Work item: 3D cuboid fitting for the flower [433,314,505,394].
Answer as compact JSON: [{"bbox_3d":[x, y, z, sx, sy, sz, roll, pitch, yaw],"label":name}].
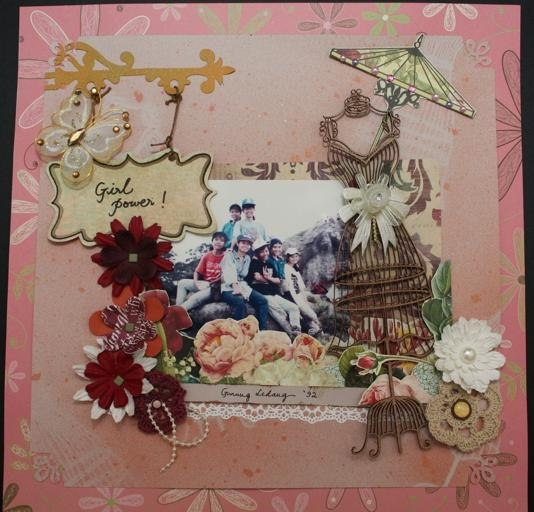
[{"bbox_3d":[0.597,0.286,1.887,0.197,0.208,0.056,0,2,-9],"label":"flower"}]
